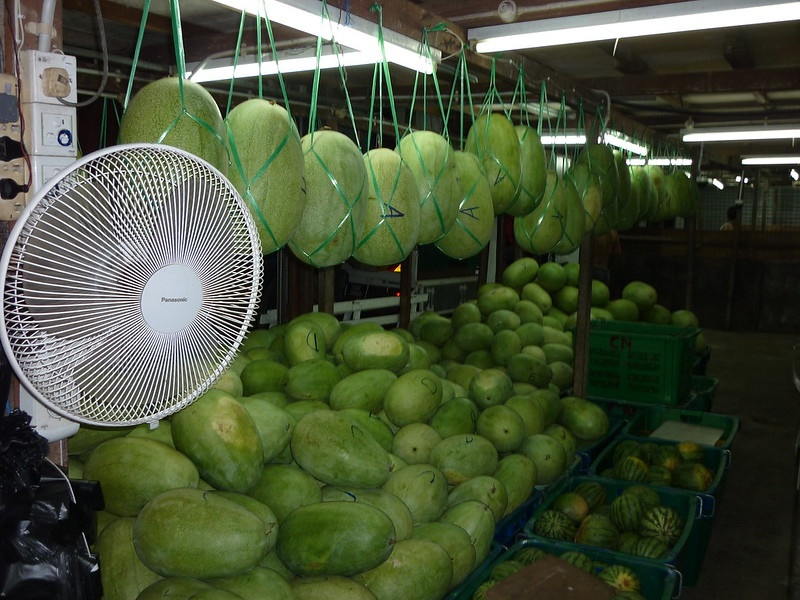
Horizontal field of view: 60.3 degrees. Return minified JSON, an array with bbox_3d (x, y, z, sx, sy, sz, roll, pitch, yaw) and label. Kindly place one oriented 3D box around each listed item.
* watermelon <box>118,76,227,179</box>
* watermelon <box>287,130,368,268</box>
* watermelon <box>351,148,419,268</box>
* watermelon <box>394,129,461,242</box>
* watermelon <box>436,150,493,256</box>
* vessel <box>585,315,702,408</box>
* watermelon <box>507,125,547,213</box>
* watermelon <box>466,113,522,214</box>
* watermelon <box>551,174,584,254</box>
[{"bbox_3d":[-0.662,-0.485,1.896,0.148,0.217,0.162,-1,-16,7],"label":"watermelon"},{"bbox_3d":[-0.222,-0.359,2.259,0.224,0.408,0.228,-6,-12,-7],"label":"watermelon"},{"bbox_3d":[-0.049,-0.334,2.417,0.240,0.403,0.246,1,13,-9],"label":"watermelon"},{"bbox_3d":[0.122,-0.411,2.573,0.206,0.380,0.207,11,10,23],"label":"watermelon"},{"bbox_3d":[0.267,-0.370,2.771,0.236,0.438,0.243,-1,16,-24],"label":"watermelon"},{"bbox_3d":[1.631,0.429,4.919,0.936,0.517,0.982,1,4,-23],"label":"vessel"},{"bbox_3d":[0.574,-0.592,3.055,0.174,0.357,0.221,-3,-14,-2],"label":"watermelon"},{"bbox_3d":[0.405,-0.588,2.939,0.215,0.430,0.247,-2,16,-7],"label":"watermelon"},{"bbox_3d":[0.852,-0.432,3.520,0.195,0.391,0.243,0,14,-2],"label":"watermelon"}]
